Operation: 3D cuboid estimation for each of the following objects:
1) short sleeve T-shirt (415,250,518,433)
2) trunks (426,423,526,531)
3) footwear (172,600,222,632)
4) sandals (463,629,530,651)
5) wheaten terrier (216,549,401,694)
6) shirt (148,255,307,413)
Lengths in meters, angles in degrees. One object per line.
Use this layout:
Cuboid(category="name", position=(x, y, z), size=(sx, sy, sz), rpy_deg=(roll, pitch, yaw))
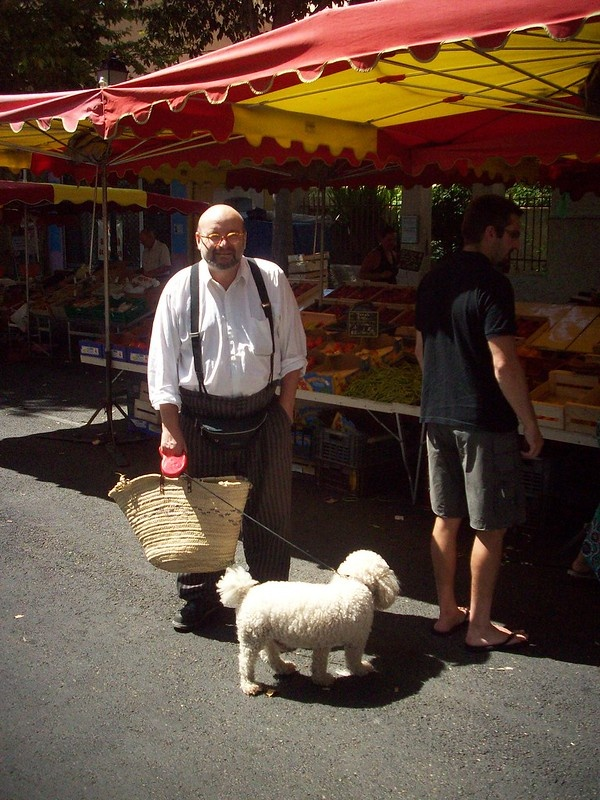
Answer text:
Cuboid(category="short sleeve T-shirt", position=(0.691, -0.237, 2.845), size=(0.196, 0.728, 0.493), rpy_deg=(-8, 12, -40))
Cuboid(category="trunks", position=(0.743, 0.318, 2.879), size=(0.263, 0.436, 0.444), rpy_deg=(-9, 10, -35))
Cuboid(category="footwear", position=(-0.510, 1.026, 3.342), size=(0.106, 0.129, 0.279), rpy_deg=(10, 5, 33))
Cuboid(category="sandals", position=(0.894, 1.049, 3.055), size=(0.250, 0.063, 0.101), rpy_deg=(-5, 2, -6))
Cuboid(category="wheaten terrier", position=(0.024, 0.920, 2.760), size=(0.582, 0.413, 0.216), rpy_deg=(-2, 18, -7))
Cuboid(category="shirt", position=(-0.320, -0.293, 2.908), size=(0.753, 0.584, 0.323), rpy_deg=(-10, 23, -22))
